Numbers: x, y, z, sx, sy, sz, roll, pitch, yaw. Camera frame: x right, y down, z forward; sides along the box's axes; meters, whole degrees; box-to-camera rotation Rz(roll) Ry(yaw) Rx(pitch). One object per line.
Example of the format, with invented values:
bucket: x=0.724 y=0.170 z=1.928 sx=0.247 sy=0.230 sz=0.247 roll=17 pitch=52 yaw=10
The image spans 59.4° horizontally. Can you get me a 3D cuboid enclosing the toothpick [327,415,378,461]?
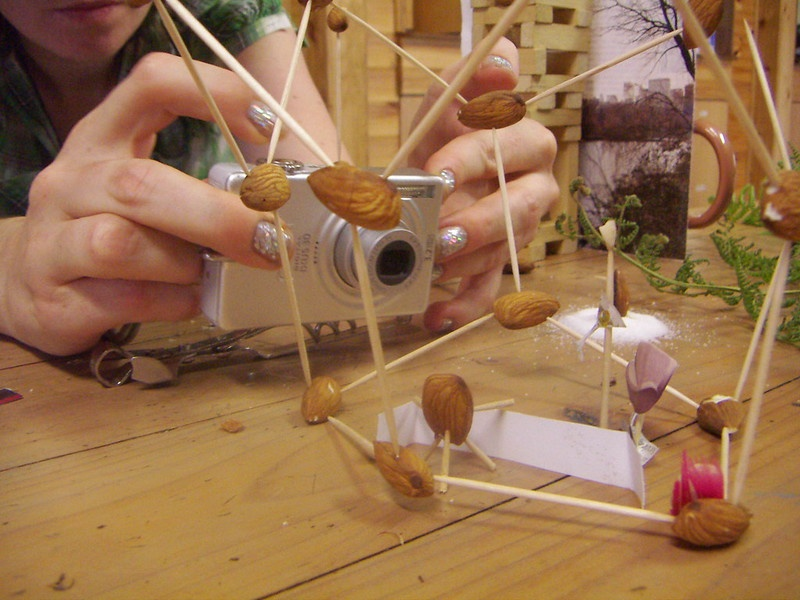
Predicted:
toothpick: x=-0.040 y=0.101 z=0.540 sx=0.015 sy=0.010 sz=0.089 roll=42 pitch=-11 yaw=-27

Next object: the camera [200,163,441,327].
camera: x=-0.080 y=-0.058 z=0.671 sx=0.246 sy=0.139 sz=0.117 roll=-2 pitch=18 yaw=-32

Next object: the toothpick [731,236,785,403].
toothpick: x=0.329 y=0.021 z=0.643 sx=0.014 sy=0.177 sz=0.008 roll=26 pitch=24 yaw=29

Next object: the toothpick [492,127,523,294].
toothpick: x=0.118 y=-0.106 z=0.769 sx=0.021 sy=0.199 sz=0.010 roll=-8 pitch=1 yaw=-19

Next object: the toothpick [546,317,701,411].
toothpick: x=0.198 y=0.060 z=0.620 sx=0.160 sy=0.010 sz=0.011 roll=27 pitch=-8 yaw=-9

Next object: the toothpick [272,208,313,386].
toothpick: x=-0.090 y=0.000 z=0.567 sx=0.021 sy=0.011 sz=0.200 roll=-8 pitch=53 yaw=-10

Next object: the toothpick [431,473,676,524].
toothpick: x=0.105 y=0.136 z=0.471 sx=0.182 sy=0.013 sz=0.009 roll=8 pitch=11 yaw=11
